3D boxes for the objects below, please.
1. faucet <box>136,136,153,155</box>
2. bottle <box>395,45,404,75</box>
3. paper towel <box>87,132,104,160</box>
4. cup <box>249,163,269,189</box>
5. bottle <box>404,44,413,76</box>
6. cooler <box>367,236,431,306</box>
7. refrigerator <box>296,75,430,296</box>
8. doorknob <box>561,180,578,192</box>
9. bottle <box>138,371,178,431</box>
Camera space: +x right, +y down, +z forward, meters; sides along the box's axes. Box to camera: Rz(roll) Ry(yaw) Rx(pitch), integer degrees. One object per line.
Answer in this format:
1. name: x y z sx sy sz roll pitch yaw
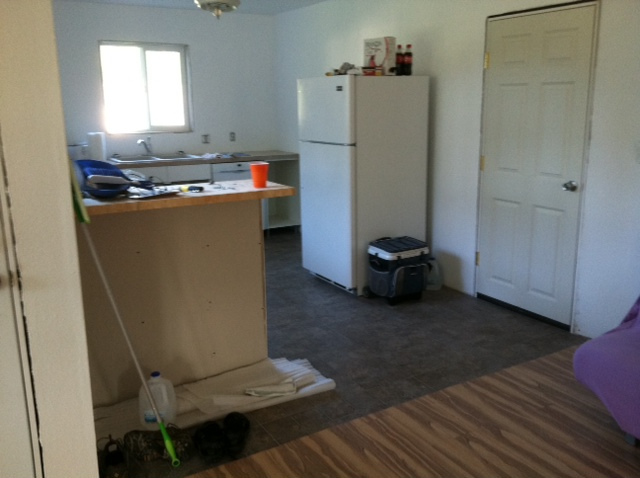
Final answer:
1. faucet: -2.003 -1.062 5.910 0.172 0.202 0.096 -10 18 -22
2. bottle: 0.675 -1.491 4.398 0.078 0.182 0.058 -2 17 5
3. paper towel: -2.331 -0.960 5.377 0.183 0.267 0.228 -8 17 -16
4. cup: -0.344 -0.346 2.870 0.135 0.137 0.130 1 10 0
5. bottle: 0.764 -1.543 4.473 0.058 0.251 0.278 1 17 13
6. cooler: 0.654 0.267 4.397 0.537 0.492 0.411 -9 18 -29
7. refrigerator: 0.374 -0.473 4.531 1.178 1.843 0.687 -2 17 2
8. doorknob: 1.742 -0.363 3.609 0.031 0.057 0.084 -8 0 -35
9. bottle: -0.857 0.833 2.699 0.199 0.318 0.186 -3 17 1
